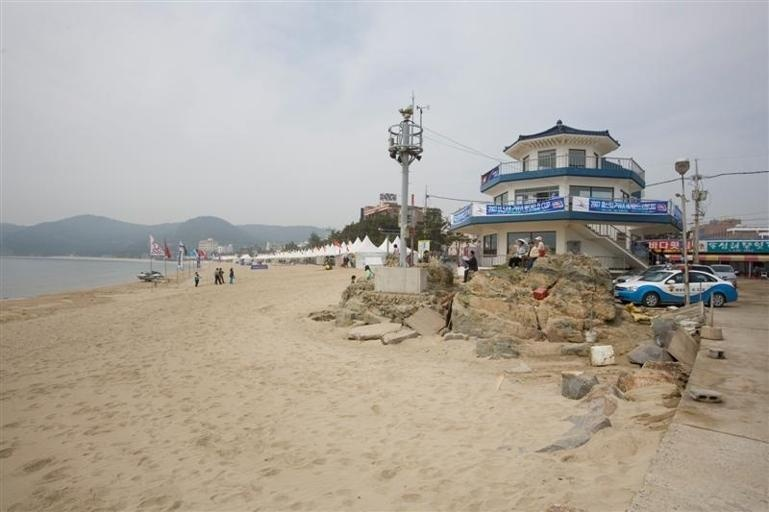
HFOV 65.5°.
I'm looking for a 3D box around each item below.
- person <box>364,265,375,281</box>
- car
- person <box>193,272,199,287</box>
[{"bbox_3d":[-0.944,1.025,37.500,0.290,0.916,0.735,-10,8,-20],"label":"person"},{"bbox_3d":[12.673,1.430,26.164,4.571,1.640,1.436,-1,2,9],"label":"car"},{"bbox_3d":[-17.284,2.158,54.743,0.546,1.554,0.638,-14,24,-35],"label":"person"}]
